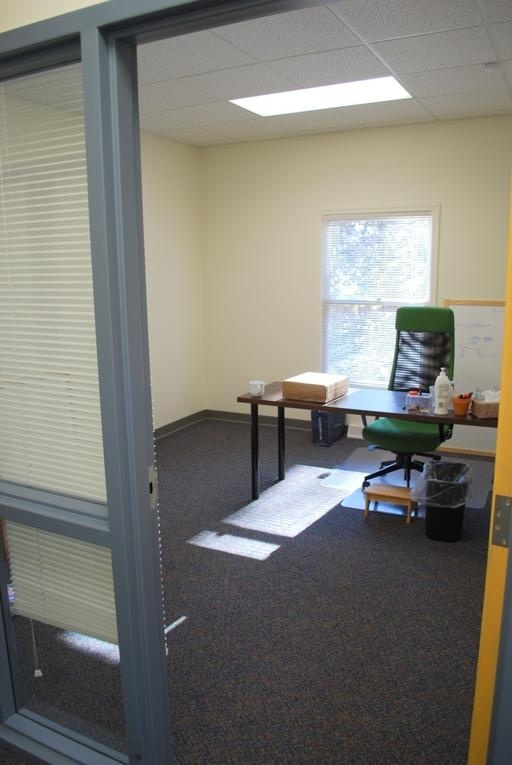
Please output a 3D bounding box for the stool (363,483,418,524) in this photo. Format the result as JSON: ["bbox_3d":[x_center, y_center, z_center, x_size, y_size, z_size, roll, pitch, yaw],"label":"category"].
[{"bbox_3d":[0.804,0.691,3.455,0.294,0.223,0.381,2,10,16],"label":"stool"}]

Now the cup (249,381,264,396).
[{"bbox_3d":[0.001,0.033,3.664,0.076,0.076,0.098,0,7,2],"label":"cup"}]

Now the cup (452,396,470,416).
[{"bbox_3d":[1.086,0.120,3.042,0.085,0.093,0.119,5,12,32],"label":"cup"}]

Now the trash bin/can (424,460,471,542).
[{"bbox_3d":[1.038,0.646,3.153,0.232,0.392,0.349,2,10,17],"label":"trash bin/can"}]

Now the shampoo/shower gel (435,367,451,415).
[{"bbox_3d":[1.008,0.034,3.107,0.089,0.242,0.169,3,11,24],"label":"shampoo/shower gel"}]
